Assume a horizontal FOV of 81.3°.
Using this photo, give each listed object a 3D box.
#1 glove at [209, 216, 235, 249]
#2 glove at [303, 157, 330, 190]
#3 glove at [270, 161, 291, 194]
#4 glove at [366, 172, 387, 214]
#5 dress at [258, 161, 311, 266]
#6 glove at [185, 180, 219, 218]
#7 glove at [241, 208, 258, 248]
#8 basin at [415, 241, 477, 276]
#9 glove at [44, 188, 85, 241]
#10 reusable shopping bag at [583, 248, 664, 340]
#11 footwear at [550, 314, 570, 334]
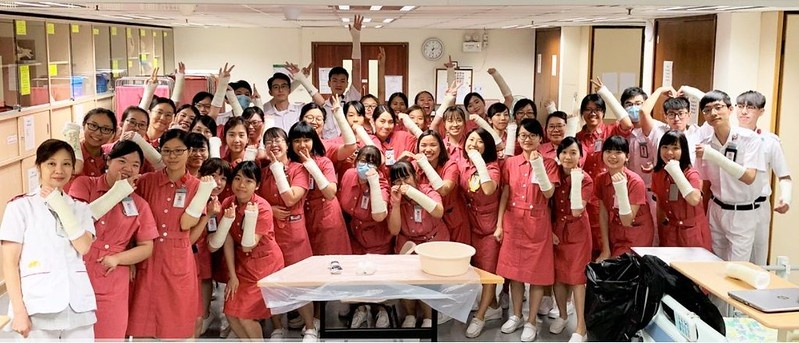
[{"bbox_3d":[-2.149,0.732,5.601,0.333,0.449,0.170,-6,15,-16],"label":"glove"},{"bbox_3d":[-1.055,0.032,5.878,0.299,0.401,0.169,-5,14,-12],"label":"glove"},{"bbox_3d":[-1.470,0.066,5.787,0.204,0.392,0.250,-13,18,-39],"label":"glove"},{"bbox_3d":[-0.292,0.241,5.866,0.221,0.550,0.309,-2,14,-1],"label":"glove"},{"bbox_3d":[-1.619,0.578,5.974,0.988,1.383,0.477,3,15,-11],"label":"dress"},{"bbox_3d":[-2.301,0.287,5.333,0.350,0.475,0.117,-5,15,-16],"label":"glove"},{"bbox_3d":[-1.810,0.648,5.561,0.226,0.528,0.120,-7,15,-18],"label":"glove"},{"bbox_3d":[0.487,0.965,5.278,0.535,0.147,0.465,-2,5,18],"label":"basin"},{"bbox_3d":[-3.440,0.435,4.747,0.330,0.503,0.118,1,15,12],"label":"glove"},{"bbox_3d":[2.587,1.452,5.366,0.818,1.000,0.387,2,15,16],"label":"reusable shopping bag"},{"bbox_3d":[2.106,1.998,6.155,0.340,0.112,0.146,-14,9,-43],"label":"footwear"}]
